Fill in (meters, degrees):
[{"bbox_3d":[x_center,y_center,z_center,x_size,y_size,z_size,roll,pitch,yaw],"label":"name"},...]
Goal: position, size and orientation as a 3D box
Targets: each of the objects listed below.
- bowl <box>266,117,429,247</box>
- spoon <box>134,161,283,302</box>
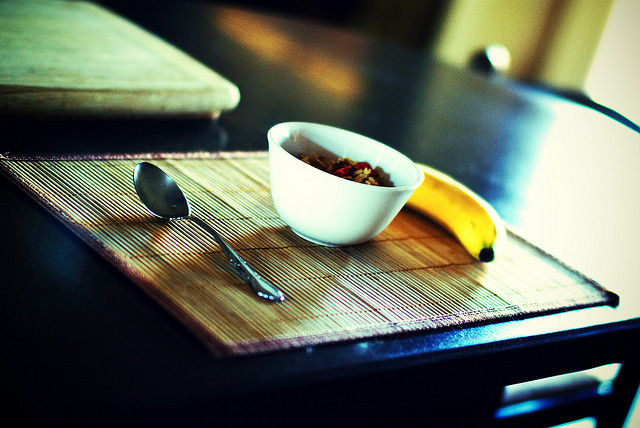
[{"bbox_3d":[0.029,-0.039,0.777,0.193,0.115,0.191,22,9,-4],"label":"bowl"},{"bbox_3d":[-0.141,0.026,0.681,0.231,0.034,0.050,40,23,22],"label":"spoon"}]
